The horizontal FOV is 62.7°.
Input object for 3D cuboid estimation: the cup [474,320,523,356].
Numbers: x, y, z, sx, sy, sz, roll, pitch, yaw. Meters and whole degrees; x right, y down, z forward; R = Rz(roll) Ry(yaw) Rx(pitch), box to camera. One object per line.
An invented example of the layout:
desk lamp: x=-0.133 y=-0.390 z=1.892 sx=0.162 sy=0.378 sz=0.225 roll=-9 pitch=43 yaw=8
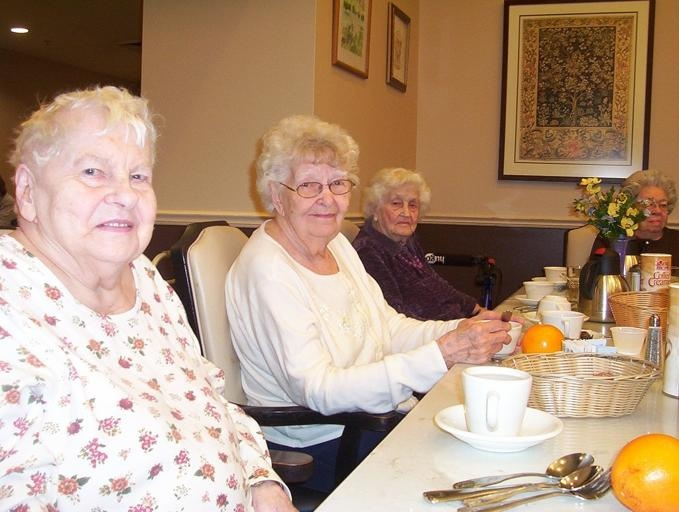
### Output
cup: x=0.444 y=0.225 z=1.552 sx=0.118 sy=0.089 sz=0.122 roll=0 pitch=-6 yaw=0

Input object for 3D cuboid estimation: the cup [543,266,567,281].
cup: x=1.091 y=0.089 z=2.829 sx=0.106 sy=0.064 sz=0.093 roll=3 pitch=0 yaw=9

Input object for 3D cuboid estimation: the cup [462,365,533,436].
cup: x=0.269 y=0.240 z=0.950 sx=0.101 sy=0.085 sz=0.121 roll=1 pitch=4 yaw=15

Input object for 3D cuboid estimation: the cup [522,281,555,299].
cup: x=0.854 y=0.141 z=2.389 sx=0.100 sy=0.069 sz=0.096 roll=1 pitch=-8 yaw=0

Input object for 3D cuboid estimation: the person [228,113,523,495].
person: x=0.070 y=0.306 z=1.818 sx=0.878 sy=1.381 sz=0.720 roll=8 pitch=16 yaw=19

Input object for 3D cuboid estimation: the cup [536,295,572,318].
cup: x=0.696 y=0.145 z=1.836 sx=0.089 sy=0.091 sz=0.141 roll=6 pitch=5 yaw=10

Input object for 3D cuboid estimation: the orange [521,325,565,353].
orange: x=0.481 y=0.205 z=1.346 sx=0.078 sy=0.071 sz=0.080 roll=23 pitch=-35 yaw=-32

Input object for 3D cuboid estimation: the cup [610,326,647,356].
cup: x=0.742 y=0.216 z=1.433 sx=0.116 sy=0.076 sz=0.112 roll=0 pitch=-4 yaw=0
